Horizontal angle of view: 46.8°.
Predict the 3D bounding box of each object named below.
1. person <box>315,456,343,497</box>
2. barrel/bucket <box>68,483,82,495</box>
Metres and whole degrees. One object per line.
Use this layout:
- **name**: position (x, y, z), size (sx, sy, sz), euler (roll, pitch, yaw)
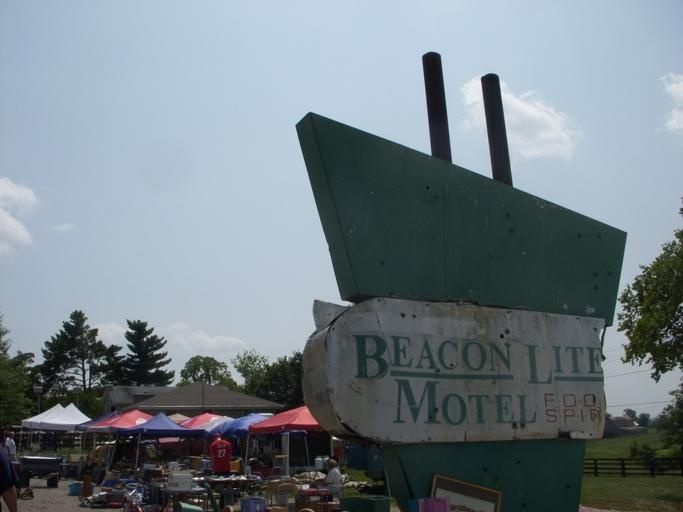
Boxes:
- **person**: position (-0.254, 6.020, 21.168), size (0.701, 1.230, 0.974), euler (-3, -18, 20)
- **barrel/bucket**: position (-8.576, 7.535, 25.409), size (0.349, 0.362, 0.387), euler (10, -25, -22)
